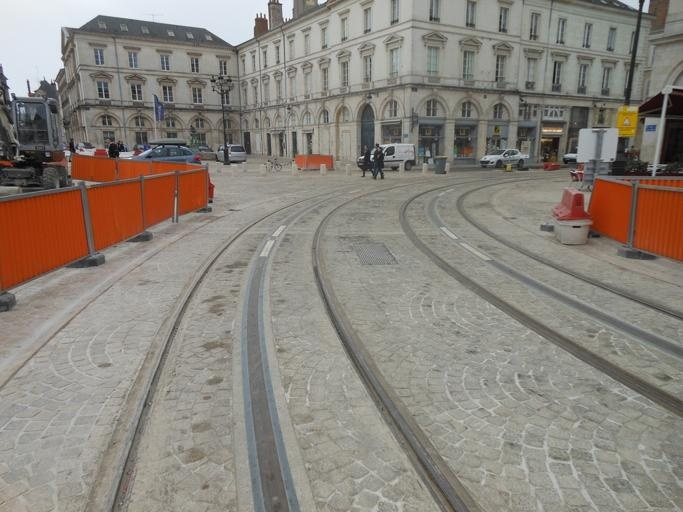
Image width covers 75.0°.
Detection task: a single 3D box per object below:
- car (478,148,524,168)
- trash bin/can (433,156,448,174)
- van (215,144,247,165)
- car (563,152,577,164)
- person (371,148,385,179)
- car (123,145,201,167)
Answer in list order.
[{"bbox_3d":[13.826,-8.456,38.291,3.418,1.110,1.735,-4,10,-20],"label":"car"},{"bbox_3d":[7.175,-6.586,32.189,0.813,1.169,0.656,7,19,25],"label":"trash bin/can"},{"bbox_3d":[-11.386,-10.657,46.582,2.328,1.637,4.794,-6,17,-24],"label":"van"},{"bbox_3d":[22.634,-9.668,43.887,1.021,1.120,4.663,8,17,26],"label":"car"},{"bbox_3d":[2.255,-5.739,27.102,0.606,2.002,0.931,0,17,0],"label":"person"},{"bbox_3d":[-9.655,-5.726,25.009,3.111,0.910,6.675,-5,15,-18],"label":"car"}]
